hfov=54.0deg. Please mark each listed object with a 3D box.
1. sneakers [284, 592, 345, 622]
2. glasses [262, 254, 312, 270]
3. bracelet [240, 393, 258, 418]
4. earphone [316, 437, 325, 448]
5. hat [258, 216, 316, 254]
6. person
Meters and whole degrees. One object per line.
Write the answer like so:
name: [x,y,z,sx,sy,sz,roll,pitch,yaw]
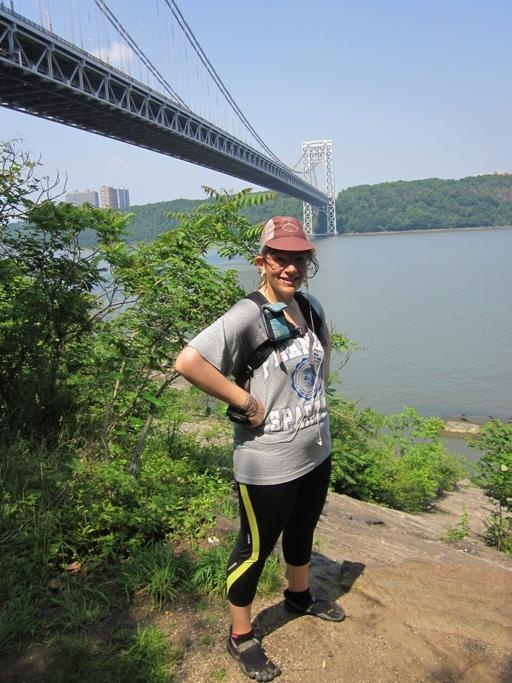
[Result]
sneakers: [0.256,1.195,2.334,0.304,0.118,0.105,-3,15,18]
glasses: [0.102,-0.293,1.853,0.205,0.077,0.106,-2,1,2]
bracelet: [-0.019,0.212,1.716,0.032,0.066,0.060,12,-16,-31]
earphone: [0.243,0.383,1.917,0.028,0.037,0.010,7,8,38]
hat: [0.115,-0.407,1.876,0.192,0.175,0.229,-2,1,5]
person: [0.045,0.402,1.971,0.491,1.794,0.722,-2,2,11]
